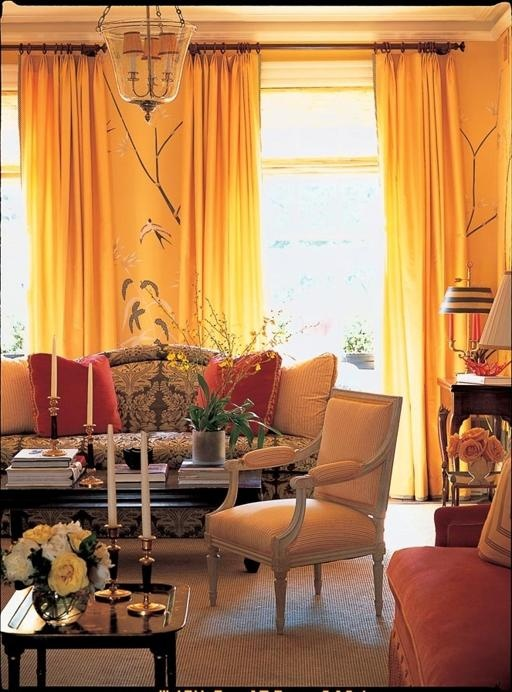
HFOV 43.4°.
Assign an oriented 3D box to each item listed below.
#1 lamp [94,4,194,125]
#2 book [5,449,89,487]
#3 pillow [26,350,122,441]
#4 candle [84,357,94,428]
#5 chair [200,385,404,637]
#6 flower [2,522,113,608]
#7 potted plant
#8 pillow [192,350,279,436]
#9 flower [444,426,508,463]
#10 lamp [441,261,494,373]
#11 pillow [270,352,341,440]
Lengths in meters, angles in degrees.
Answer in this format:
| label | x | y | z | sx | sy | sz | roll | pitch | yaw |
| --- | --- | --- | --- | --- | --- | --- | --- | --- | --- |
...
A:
| label | x | y | z | sx | sy | sz | roll | pitch | yaw |
| --- | --- | --- | --- | --- | --- | --- | --- | --- | --- |
| lamp | -0.381 | -1.017 | 2.217 | 0.276 | 0.353 | 0.261 | -1 | 0 | 43 |
| book | -0.843 | 0.488 | 2.572 | 0.260 | 0.122 | 0.257 | 0 | 0 | -8 |
| pillow | -0.927 | 0.268 | 3.234 | 0.417 | 0.419 | 0.143 | 2 | -24 | -33 |
| candle | -0.635 | 0.191 | 2.448 | 0.021 | 0.236 | 0.189 | 0 | 0 | -17 |
| chair | 0.169 | 0.564 | 2.374 | 0.722 | 0.774 | 0.690 | 0 | -4 | 0 |
| flower | -0.442 | 0.448 | 1.433 | 0.179 | 0.147 | 0.186 | 1 | -2 | 31 |
| potted plant | -0.129 | 0.343 | 2.767 | 0.353 | 0.373 | 0.435 | 4 | -5 | -10 |
| pillow | -0.089 | 0.236 | 3.322 | 0.422 | 0.435 | 0.191 | 5 | -8 | 21 |
| flower | 0.964 | 0.440 | 2.814 | 0.178 | 0.183 | 0.076 | -20 | -9 | 18 |
| lamp | 1.203 | -0.170 | 3.698 | 0.445 | 0.537 | 0.455 | 0 | -5 | 29 |
| pillow | 0.242 | 0.270 | 3.261 | 0.350 | 0.418 | 0.204 | 8 | -13 | 18 |
